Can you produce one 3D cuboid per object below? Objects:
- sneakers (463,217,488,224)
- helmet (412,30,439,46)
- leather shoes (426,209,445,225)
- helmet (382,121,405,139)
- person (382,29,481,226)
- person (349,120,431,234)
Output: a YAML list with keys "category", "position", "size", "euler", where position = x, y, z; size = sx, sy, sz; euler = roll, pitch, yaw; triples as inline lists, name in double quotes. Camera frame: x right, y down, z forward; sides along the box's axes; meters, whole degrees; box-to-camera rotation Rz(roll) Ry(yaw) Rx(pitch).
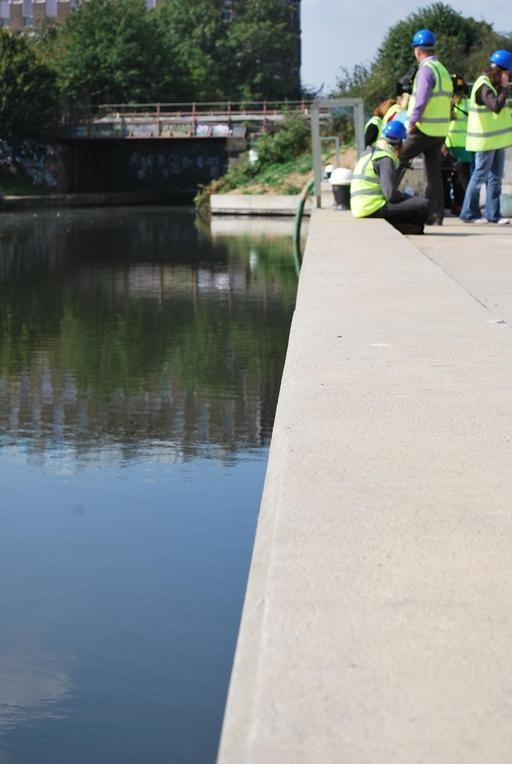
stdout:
- category: "sneakers"
  position: [2.009, -1.486, 11.065]
  size: [0.187, 0.087, 0.066]
  euler: [-1, 2, 41]
- category: "helmet"
  position: [1.359, -2.790, 9.857]
  size: [0.184, 0.145, 0.265]
  euler: [1, 24, 1]
- category: "leather shoes"
  position: [1.591, -1.464, 10.777]
  size: [0.170, 0.147, 0.238]
  euler: [3, -5, 14]
- category: "helmet"
  position: [1.075, -1.986, 9.465]
  size: [0.175, 0.147, 0.180]
  euler: [-2, 10, 7]
- category: "person"
  position: [1.398, -2.141, 10.104]
  size: [0.469, 1.580, 0.926]
  euler: [-1, 10, 7]
- category: "person"
  position: [1.142, -1.675, 10.045]
  size: [0.582, 1.025, 0.648]
  euler: [4, 16, 19]
